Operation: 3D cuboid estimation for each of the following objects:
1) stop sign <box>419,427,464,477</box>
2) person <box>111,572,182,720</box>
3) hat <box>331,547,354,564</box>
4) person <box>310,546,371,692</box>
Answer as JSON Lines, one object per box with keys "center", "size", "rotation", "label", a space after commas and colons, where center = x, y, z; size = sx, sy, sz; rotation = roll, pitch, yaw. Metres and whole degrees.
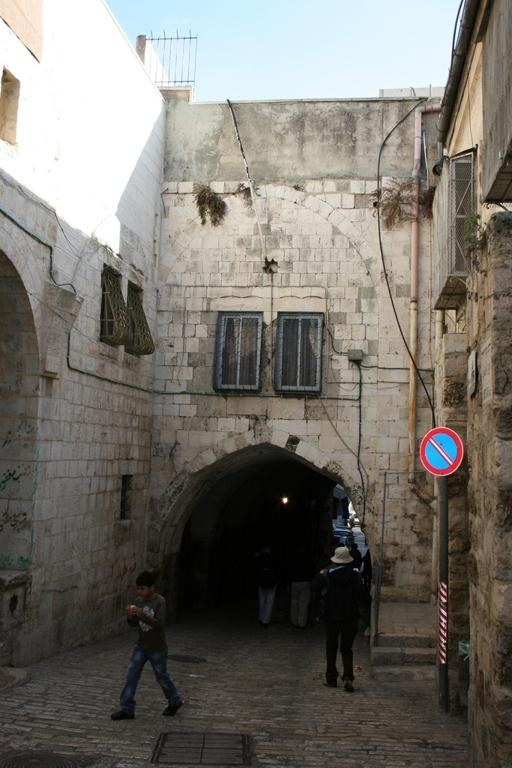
{"center": [1.515, 0.558, 6.019], "size": [0.312, 0.400, 0.234], "rotation": [0, -8, 19], "label": "stop sign"}
{"center": [-0.776, 1.933, 5.390], "size": [0.499, 1.073, 0.704], "rotation": [3, -7, -6], "label": "person"}
{"center": [0.820, 1.646, 7.001], "size": [0.139, 0.091, 0.161], "rotation": [1, -3, 3], "label": "hat"}
{"center": [0.762, 2.215, 6.907], "size": [0.439, 1.299, 0.478], "rotation": [1, -7, 8], "label": "person"}
